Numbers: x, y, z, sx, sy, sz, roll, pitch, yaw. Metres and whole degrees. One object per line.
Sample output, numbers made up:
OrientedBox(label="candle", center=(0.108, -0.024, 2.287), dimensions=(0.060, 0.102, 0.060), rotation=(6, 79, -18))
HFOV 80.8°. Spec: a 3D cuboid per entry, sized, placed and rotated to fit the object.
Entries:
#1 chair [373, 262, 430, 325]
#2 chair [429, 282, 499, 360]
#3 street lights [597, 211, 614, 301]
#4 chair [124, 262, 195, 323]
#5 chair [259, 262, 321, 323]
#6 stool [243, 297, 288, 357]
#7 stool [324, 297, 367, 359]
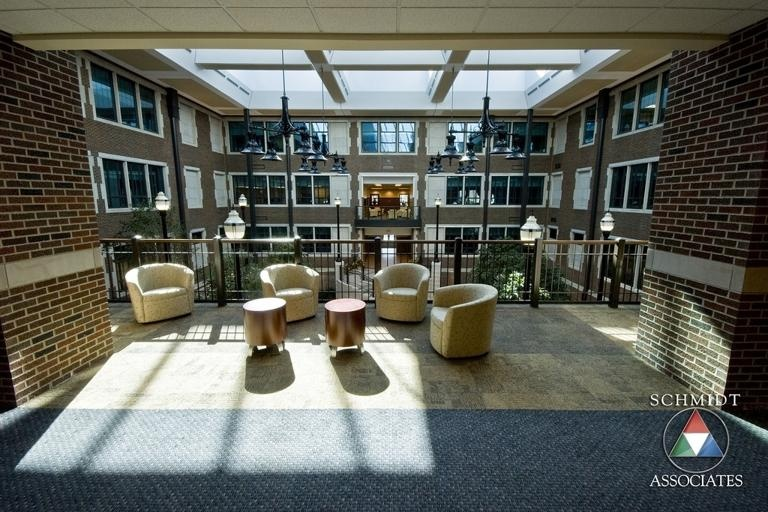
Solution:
OrientedBox(label="chair", center=(0.357, 0.661, 8.454), dimensions=(1.116, 0.844, 0.880), rotation=(1, 16, 8))
OrientedBox(label="chair", center=(1.281, 0.972, 7.447), dimensions=(1.320, 1.043, 1.222), rotation=(-1, 7, -6))
OrientedBox(label="street lights", center=(5.517, -0.079, 11.229), dimensions=(0.462, 1.995, 0.461), rotation=(7, 1, 19))
OrientedBox(label="chair", center=(-4.240, 0.666, 8.577), dimensions=(1.217, 0.831, 0.969), rotation=(-6, 13, -31))
OrientedBox(label="chair", center=(-1.814, 0.678, 8.464), dimensions=(1.105, 0.792, 0.863), rotation=(-7, 16, -37))
OrientedBox(label="stool", center=(-1.945, 1.172, 7.402), dimensions=(0.695, 0.598, 0.663), rotation=(-4, 1, -38))
OrientedBox(label="stool", center=(-0.435, 1.133, 7.355), dimensions=(0.908, 0.813, 0.815), rotation=(-1, 6, -5))
